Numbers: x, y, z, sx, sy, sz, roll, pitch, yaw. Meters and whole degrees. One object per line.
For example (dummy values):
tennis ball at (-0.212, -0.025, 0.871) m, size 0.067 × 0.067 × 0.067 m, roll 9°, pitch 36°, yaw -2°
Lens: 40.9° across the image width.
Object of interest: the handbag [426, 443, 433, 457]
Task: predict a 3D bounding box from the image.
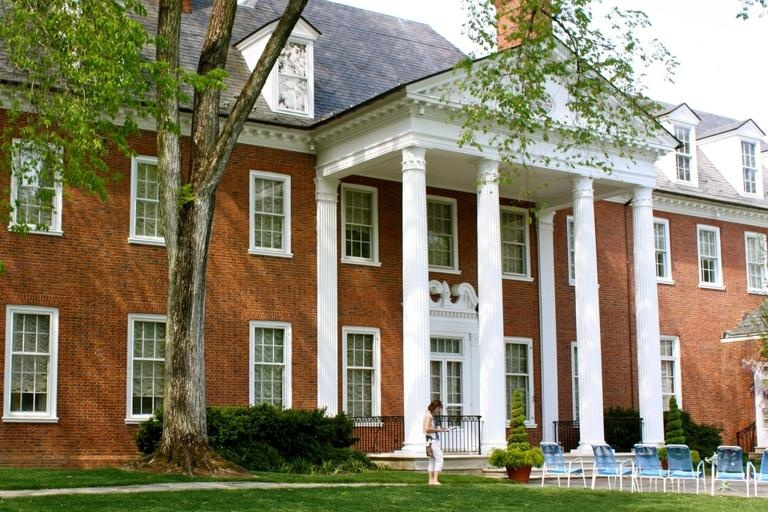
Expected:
handbag at (1.213, 5.125, 27.025) m, size 0.158 × 0.328 × 0.349 m, roll -1°, pitch -14°, yaw 2°

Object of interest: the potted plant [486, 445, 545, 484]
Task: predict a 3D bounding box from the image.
potted plant at (3.920, 6.139, 30.485) m, size 1.146 × 0.815 × 1.163 m, roll 5°, pitch -13°, yaw -24°
